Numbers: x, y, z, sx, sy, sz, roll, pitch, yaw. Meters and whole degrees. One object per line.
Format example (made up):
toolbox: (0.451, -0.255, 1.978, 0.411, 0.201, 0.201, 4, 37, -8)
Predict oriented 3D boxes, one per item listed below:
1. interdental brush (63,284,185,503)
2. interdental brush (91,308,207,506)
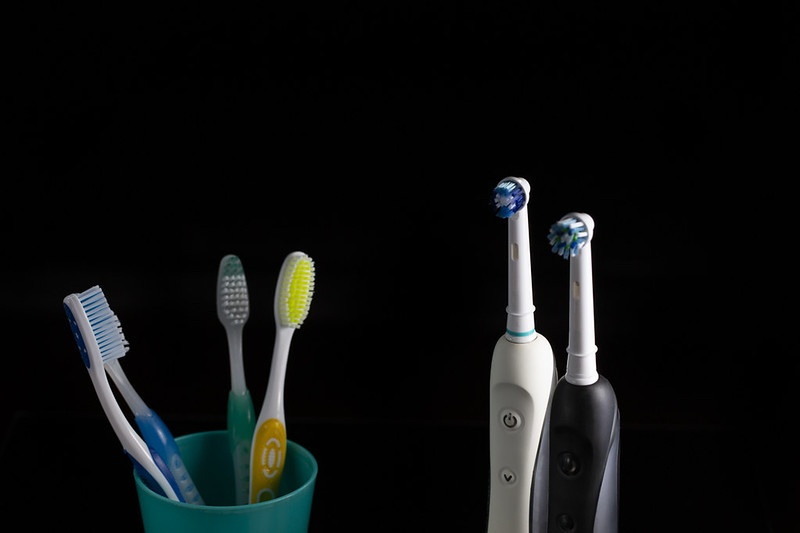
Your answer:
interdental brush: (-0.356, 0.179, 1.132, 0.040, 0.039, 0.342, -17, 50, -33)
interdental brush: (-0.408, 0.225, 1.362, 0.047, 0.344, 0.027, -29, 10, -36)
